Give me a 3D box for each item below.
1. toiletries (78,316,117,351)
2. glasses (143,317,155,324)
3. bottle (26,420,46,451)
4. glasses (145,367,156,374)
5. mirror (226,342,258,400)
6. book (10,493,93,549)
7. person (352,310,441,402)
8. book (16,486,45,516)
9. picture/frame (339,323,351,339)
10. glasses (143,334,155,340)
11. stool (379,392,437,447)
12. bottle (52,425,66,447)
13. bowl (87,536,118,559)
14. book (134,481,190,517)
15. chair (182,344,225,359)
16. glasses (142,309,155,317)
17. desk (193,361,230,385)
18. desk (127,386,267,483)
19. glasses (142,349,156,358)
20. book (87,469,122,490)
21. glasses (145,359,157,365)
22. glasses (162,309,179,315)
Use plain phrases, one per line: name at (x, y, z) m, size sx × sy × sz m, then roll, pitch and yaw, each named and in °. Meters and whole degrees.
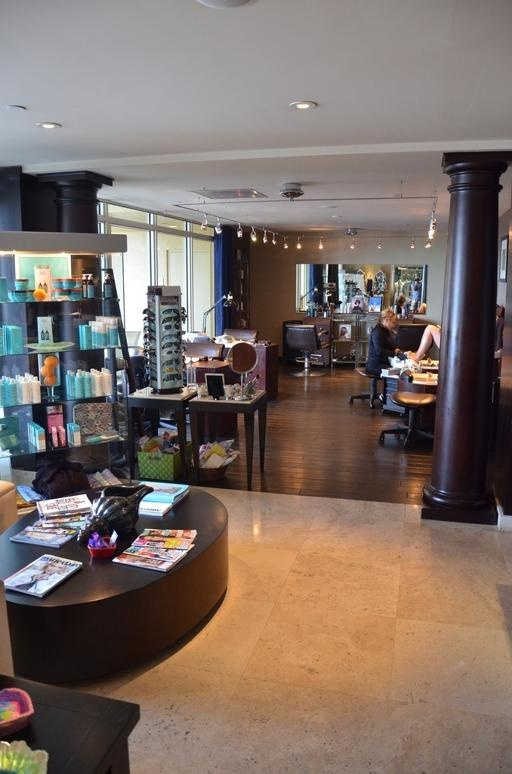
toiletries at (-1.129, -0.361, 3.877) m, size 0.197 × 0.277 × 0.280 m, roll 2°, pitch 4°, yaw 41°
glasses at (-0.926, -0.587, 4.645) m, size 0.091 × 0.098 × 0.038 m, roll 3°, pitch 34°, yaw 13°
bottle at (-1.522, 0.338, 3.686) m, size 0.067 × 0.179 × 0.191 m, roll -3°, pitch 5°, yaw -31°
glasses at (-0.919, -0.153, 4.695) m, size 0.060 × 0.063 × 0.033 m, roll 14°, pitch 20°, yaw 41°
mirror at (-0.123, -0.165, 4.690) m, size 0.214 × 0.468 × 0.448 m, roll 0°, pitch 6°, yaw -5°
book at (-1.030, 0.685, 2.710) m, size 0.277 × 0.070 × 0.277 m, roll 2°, pitch 7°, yaw 8°
person at (1.799, -0.387, 7.297) m, size 0.868 × 1.387 × 1.721 m, roll 1°, pitch 6°, yaw 6°
book at (-1.553, 0.791, 3.687) m, size 0.254 × 0.071 × 0.257 m, roll 3°, pitch 9°, yaw -15°
picture/frame at (1.954, -1.255, 11.710) m, size 0.283 × 0.402 × 0.052 m, roll 6°, pitch 14°, yaw 23°
glasses at (-0.926, -0.440, 4.652) m, size 0.066 × 0.036 × 0.094 m, roll 1°, pitch 12°, yaw -3°
stool at (1.715, 0.315, 5.872) m, size 0.582 × 0.529 × 0.567 m, roll -12°, pitch 15°, yaw -43°
bottle at (-1.378, 0.347, 3.788) m, size 0.109 × 0.199 × 0.195 m, roll -1°, pitch 5°, yaw -18°
bowl at (-0.669, 0.699, 2.308) m, size 0.087 × 0.049 × 0.113 m, roll 1°, pitch -5°, yaw -1°
book at (-0.525, 0.618, 2.946) m, size 0.154 × 0.030 × 0.251 m, roll 2°, pitch 9°, yaw 12°
chair at (-0.655, -0.461, 6.784) m, size 0.317 × 0.124 × 0.112 m, roll 1°, pitch 20°, yaw 24°
glasses at (-0.925, -0.657, 4.635) m, size 0.071 × 0.098 × 0.036 m, roll 6°, pitch -27°, yaw -3°
desk at (-0.539, -0.191, 6.156) m, size 0.386 × 0.215 × 0.655 m, roll 1°, pitch 6°, yaw 5°
desk at (-0.438, 0.229, 4.798) m, size 1.382 × 1.025 × 0.775 m, roll 2°, pitch 10°, yaw 17°
glasses at (-0.928, -0.303, 4.678) m, size 0.072 × 0.108 × 0.039 m, roll 3°, pitch -8°, yaw 9°
book at (-1.147, 0.691, 3.996) m, size 0.214 × 0.076 × 0.225 m, roll 0°, pitch 13°, yaw -21°
glasses at (-0.916, -0.229, 4.665) m, size 0.091 × 0.094 × 0.051 m, roll 0°, pitch -1°, yaw 19°
glasses at (-0.729, -0.649, 4.555) m, size 0.103 × 0.056 × 0.022 m, roll 6°, pitch -10°, yaw -6°
